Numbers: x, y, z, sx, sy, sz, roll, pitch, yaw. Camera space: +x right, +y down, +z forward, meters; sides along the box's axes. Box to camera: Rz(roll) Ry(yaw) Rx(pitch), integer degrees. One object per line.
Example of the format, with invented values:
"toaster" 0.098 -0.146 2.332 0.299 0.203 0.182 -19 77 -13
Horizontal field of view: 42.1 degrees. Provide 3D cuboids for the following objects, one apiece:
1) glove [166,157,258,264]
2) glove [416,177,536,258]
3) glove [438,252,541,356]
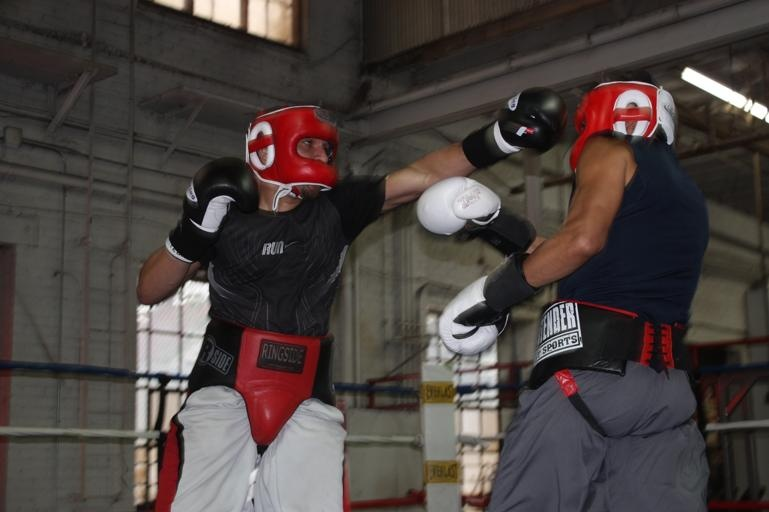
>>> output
"glove" -1.080 -0.319 6.317 0.537 0.369 0.716 4 -50 -18
"glove" 0.589 -0.226 6.277 0.779 0.427 0.366 23 -48 11
"glove" 0.702 0.373 6.153 0.450 0.309 0.843 -24 -8 -33
